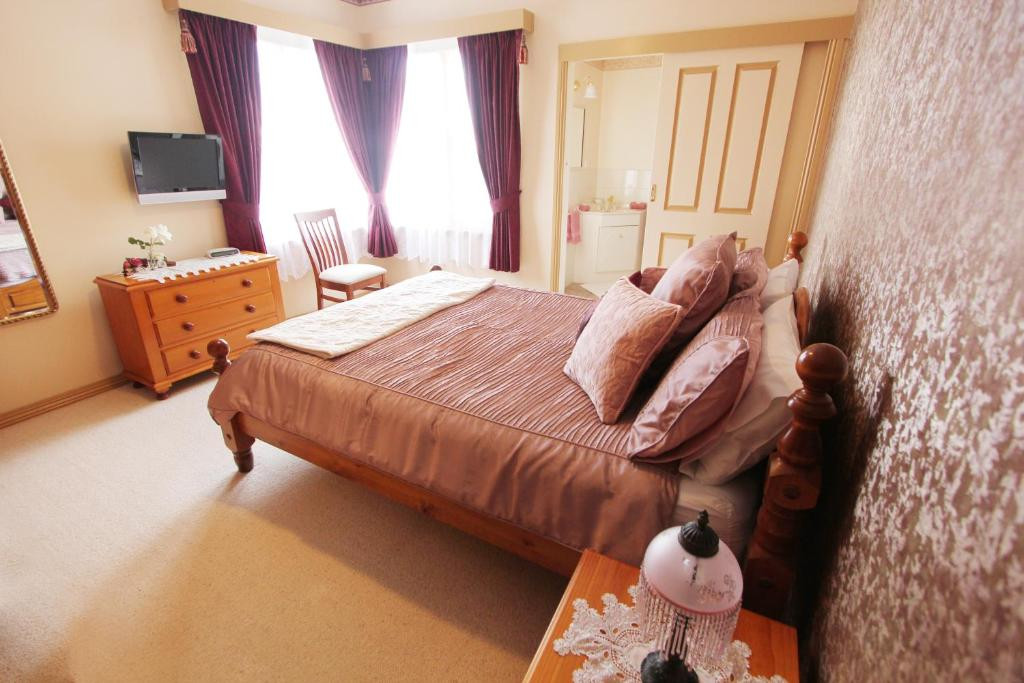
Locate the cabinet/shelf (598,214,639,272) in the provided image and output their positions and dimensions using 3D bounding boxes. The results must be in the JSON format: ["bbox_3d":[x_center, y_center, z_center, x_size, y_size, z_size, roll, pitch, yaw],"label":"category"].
[{"bbox_3d":[1.068,-0.970,6.558,0.453,0.653,0.497,1,31,5],"label":"cabinet/shelf"}]

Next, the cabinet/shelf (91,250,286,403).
[{"bbox_3d":[-2.186,-0.185,4.731,0.525,0.753,1.032,20,30,38],"label":"cabinet/shelf"}]

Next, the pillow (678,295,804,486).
[{"bbox_3d":[1.025,0.260,2.764,0.346,0.537,0.641,13,27,39],"label":"pillow"}]

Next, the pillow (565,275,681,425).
[{"bbox_3d":[0.491,0.017,3.007,0.177,0.579,0.578,24,12,-25],"label":"pillow"}]

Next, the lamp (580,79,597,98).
[{"bbox_3d":[0.761,-2.411,6.281,0.144,0.171,0.153,17,30,32],"label":"lamp"}]

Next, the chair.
[{"bbox_3d":[-1.349,-0.605,5.349,0.612,0.848,0.532,21,30,39],"label":"chair"}]

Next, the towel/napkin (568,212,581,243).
[{"bbox_3d":[0.618,-1.118,6.440,0.079,0.258,0.249,5,11,29],"label":"towel/napkin"}]

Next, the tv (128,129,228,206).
[{"bbox_3d":[-2.320,-1.212,4.530,0.047,0.410,0.542,15,21,30],"label":"tv"}]
